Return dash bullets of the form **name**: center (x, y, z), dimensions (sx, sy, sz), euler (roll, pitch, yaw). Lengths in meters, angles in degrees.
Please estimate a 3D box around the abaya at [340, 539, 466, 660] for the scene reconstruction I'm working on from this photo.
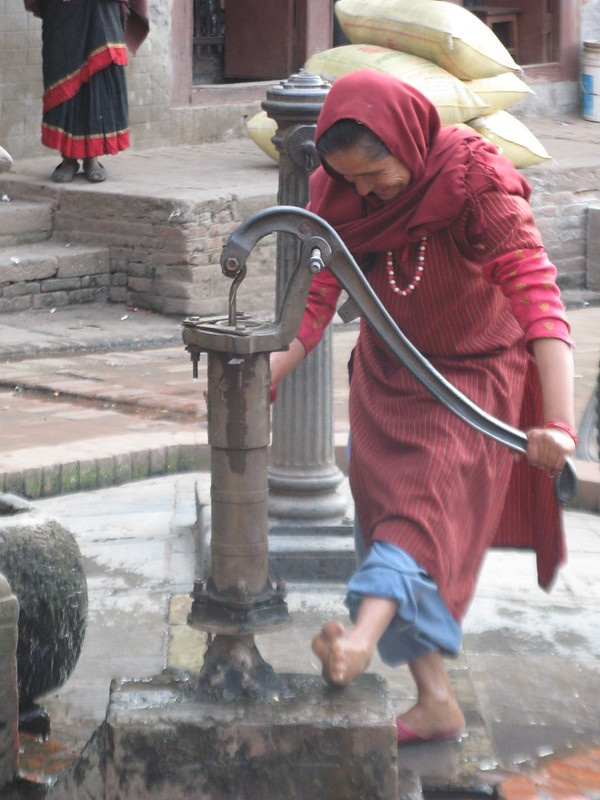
- **abaya**: center (0.196, 0.365, 2.876), dimensions (0.102, 0.107, 0.239), euler (-26, 27, 10)

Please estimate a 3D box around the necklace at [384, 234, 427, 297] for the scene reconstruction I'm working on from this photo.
- **necklace**: center (0.209, -0.266, 3.072), dimensions (0.020, 0.178, 0.105), euler (-3, 7, -41)

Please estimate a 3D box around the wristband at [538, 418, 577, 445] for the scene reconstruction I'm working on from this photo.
- **wristband**: center (0.463, 0.053, 2.829), dimensions (0.049, 0.021, 0.043), euler (32, 11, 35)

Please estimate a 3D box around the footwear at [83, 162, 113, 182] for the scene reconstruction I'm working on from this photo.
- **footwear**: center (-1.200, -1.332, 9.197), dimensions (0.087, 0.104, 0.260), euler (-3, 10, -7)

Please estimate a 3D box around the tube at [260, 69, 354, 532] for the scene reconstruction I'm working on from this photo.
- **tube**: center (0.013, -0.250, 4.143), dimensions (0.296, 1.200, 0.293), euler (7, 15, 22)

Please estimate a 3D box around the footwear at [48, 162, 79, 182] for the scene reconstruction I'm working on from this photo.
- **footwear**: center (-1.366, -1.309, 9.078), dimensions (0.082, 0.062, 0.224), euler (2, 28, 3)
